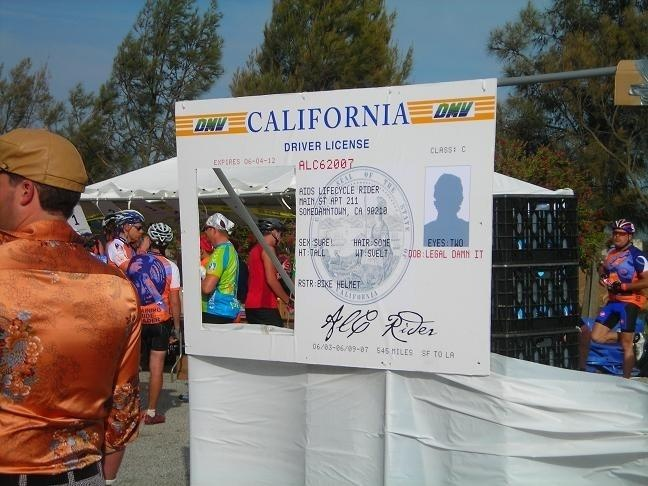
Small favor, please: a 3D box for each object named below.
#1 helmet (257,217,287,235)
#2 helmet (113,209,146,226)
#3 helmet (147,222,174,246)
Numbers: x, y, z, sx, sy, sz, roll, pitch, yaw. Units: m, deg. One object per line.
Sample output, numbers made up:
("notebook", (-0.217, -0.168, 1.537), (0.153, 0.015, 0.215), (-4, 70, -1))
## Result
("helmet", (-0.514, -0.170, 7.693), (0.141, 0.212, 0.137), (1, 11, -38))
("helmet", (-2.005, -0.255, 8.156), (0.205, 0.096, 0.160), (0, 15, -12))
("helmet", (-1.599, -0.093, 7.818), (0.162, 0.212, 0.226), (1, 22, -11))
